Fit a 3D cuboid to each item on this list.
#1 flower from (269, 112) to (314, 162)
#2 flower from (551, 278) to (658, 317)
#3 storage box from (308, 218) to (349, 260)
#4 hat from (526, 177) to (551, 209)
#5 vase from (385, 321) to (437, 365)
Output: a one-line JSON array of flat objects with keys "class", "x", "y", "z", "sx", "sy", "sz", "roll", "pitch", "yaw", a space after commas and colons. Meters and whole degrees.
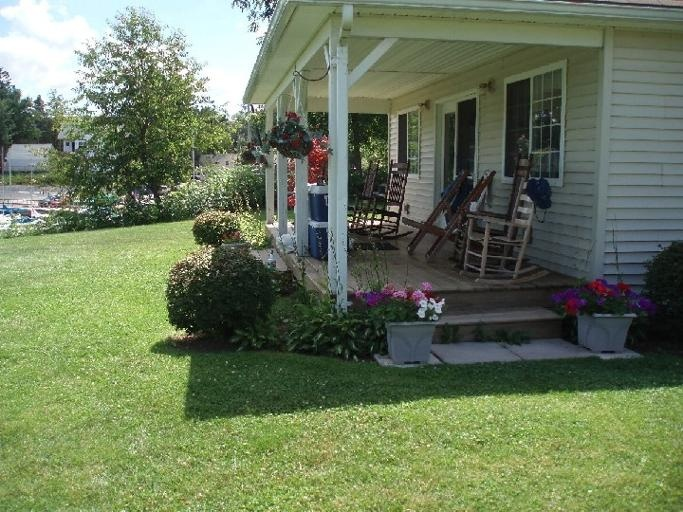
[{"class": "flower", "x": -0.579, "y": -1.364, "z": 6.913, "sx": 0.489, "sy": 0.445, "sz": 0.512, "roll": 3, "pitch": 1, "yaw": 16}, {"class": "flower", "x": 2.789, "y": 0.440, "z": 6.388, "sx": 0.790, "sy": 0.389, "sz": 0.782, "roll": -9, "pitch": 5, "yaw": 22}, {"class": "storage box", "x": -0.319, "y": -0.213, "z": 8.499, "sx": 0.366, "sy": 0.511, "sz": 0.497, "roll": -6, "pitch": 0, "yaw": -13}, {"class": "hat", "x": 2.424, "y": -0.717, "z": 7.257, "sx": 0.356, "sy": 0.306, "sz": 0.153, "roll": 12, "pitch": -12, "yaw": 21}, {"class": "vase", "x": 0.696, "y": 0.867, "z": 6.009, "sx": 0.573, "sy": 0.435, "sz": 0.526, "roll": -2, "pitch": 6, "yaw": -22}]
